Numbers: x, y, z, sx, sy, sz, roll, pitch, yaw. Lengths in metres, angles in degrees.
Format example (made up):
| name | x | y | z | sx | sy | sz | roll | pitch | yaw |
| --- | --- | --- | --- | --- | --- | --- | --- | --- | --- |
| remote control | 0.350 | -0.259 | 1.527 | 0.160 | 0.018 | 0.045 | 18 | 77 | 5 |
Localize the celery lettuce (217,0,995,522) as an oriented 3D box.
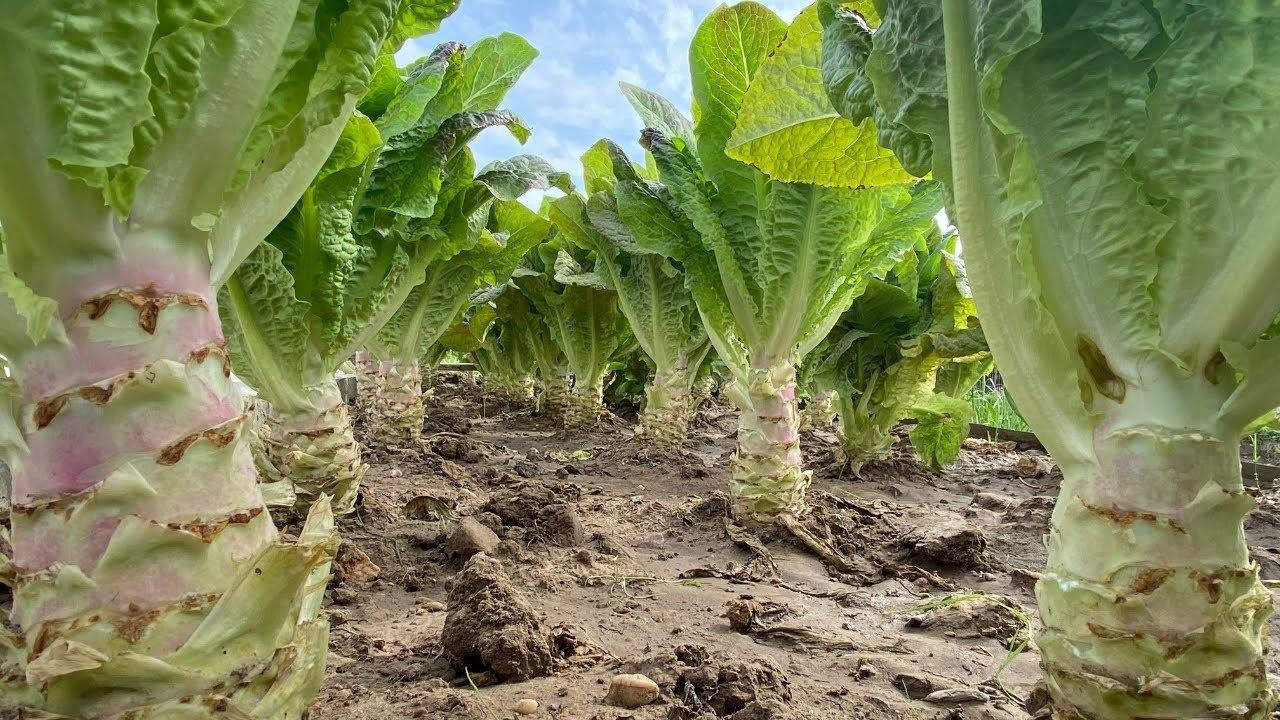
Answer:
| name | x | y | z | sx | sy | sz | roll | pitch | yaw |
| --- | --- | --- | --- | --- | --- | --- | --- | --- | --- |
| celery lettuce | 0.132 | -0.440 | 4.301 | 2.506 | 1.541 | 2.226 | -1 | -4 | -1 |
